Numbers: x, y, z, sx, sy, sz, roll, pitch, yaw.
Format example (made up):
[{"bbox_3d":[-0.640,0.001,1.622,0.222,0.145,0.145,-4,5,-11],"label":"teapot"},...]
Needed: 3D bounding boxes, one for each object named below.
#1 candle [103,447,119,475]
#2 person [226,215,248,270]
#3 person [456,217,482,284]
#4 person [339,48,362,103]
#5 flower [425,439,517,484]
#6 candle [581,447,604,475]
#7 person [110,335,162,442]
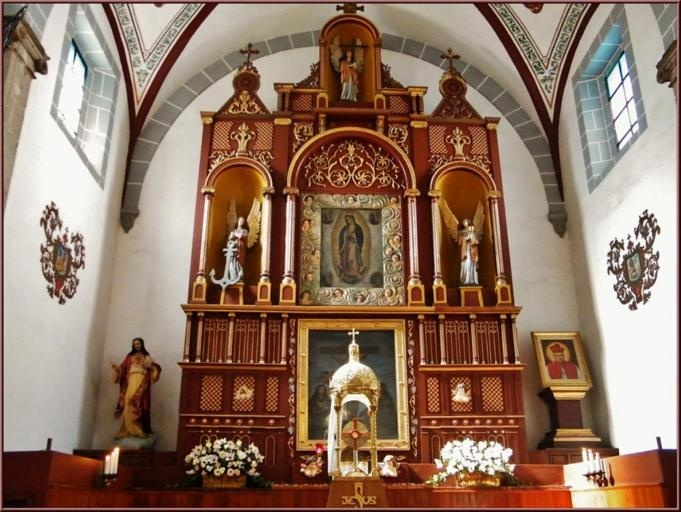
[{"bbox_3d":[-2.849,2.565,6.621,0.167,0.325,0.340,8,-19,-23],"label":"candle"},{"bbox_3d":[-1.748,-0.255,9.156,0.223,0.815,0.423,-15,-23,41],"label":"person"},{"bbox_3d":[2.275,-0.083,9.356,0.383,1.296,0.309,-2,-17,6],"label":"person"},{"bbox_3d":[0.209,-3.533,10.460,0.410,1.280,0.283,4,-17,-11],"label":"person"},{"bbox_3d":[1.797,2.849,7.204,0.827,0.375,0.858,5,-22,-9],"label":"flower"},{"bbox_3d":[3.304,2.698,6.964,0.229,0.320,0.537,-6,-19,19],"label":"candle"},{"bbox_3d":[-3.325,2.225,8.725,0.636,1.721,0.303,7,-18,-21],"label":"person"}]
